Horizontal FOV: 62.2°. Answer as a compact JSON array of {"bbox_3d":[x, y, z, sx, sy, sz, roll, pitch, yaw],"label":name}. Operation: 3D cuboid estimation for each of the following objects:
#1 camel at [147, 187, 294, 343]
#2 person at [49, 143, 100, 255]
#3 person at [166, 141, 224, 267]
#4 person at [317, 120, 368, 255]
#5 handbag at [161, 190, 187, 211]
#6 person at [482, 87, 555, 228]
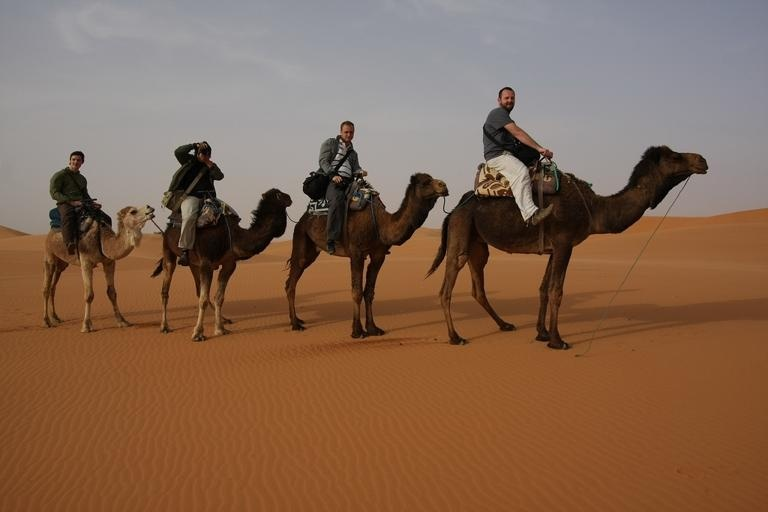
[{"bbox_3d":[-3.751,0.449,14.472,2.443,2.826,5.452,-2,-5,-8],"label":"camel"},{"bbox_3d":[-6.631,-1.062,13.833,1.022,2.239,0.893,-7,-6,5],"label":"person"},{"bbox_3d":[-3.758,-0.872,12.580,1.159,2.462,1.430,-2,-3,-7],"label":"person"},{"bbox_3d":[-1.134,-1.601,12.684,1.246,3.165,1.377,2,-3,0],"label":"person"},{"bbox_3d":[-4.266,-1.097,12.915,0.434,0.399,0.319,-3,13,-18],"label":"handbag"},{"bbox_3d":[2.592,-1.919,12.198,1.500,2.526,1.118,4,11,22],"label":"person"}]
